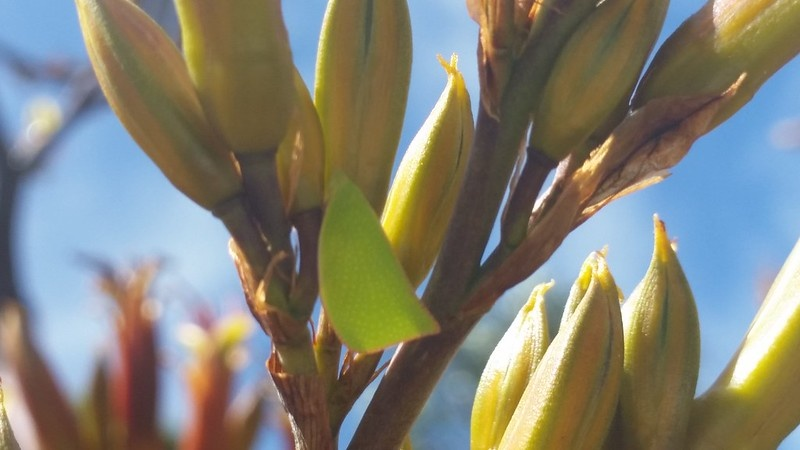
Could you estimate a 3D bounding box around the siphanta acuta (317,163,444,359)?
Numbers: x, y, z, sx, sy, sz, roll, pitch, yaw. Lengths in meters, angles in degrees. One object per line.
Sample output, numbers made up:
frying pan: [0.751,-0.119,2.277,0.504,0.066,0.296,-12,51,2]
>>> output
siphanta acuta: [-0.041,0.066,1.288,0.147,0.345,0.055,4,-52,-15]
